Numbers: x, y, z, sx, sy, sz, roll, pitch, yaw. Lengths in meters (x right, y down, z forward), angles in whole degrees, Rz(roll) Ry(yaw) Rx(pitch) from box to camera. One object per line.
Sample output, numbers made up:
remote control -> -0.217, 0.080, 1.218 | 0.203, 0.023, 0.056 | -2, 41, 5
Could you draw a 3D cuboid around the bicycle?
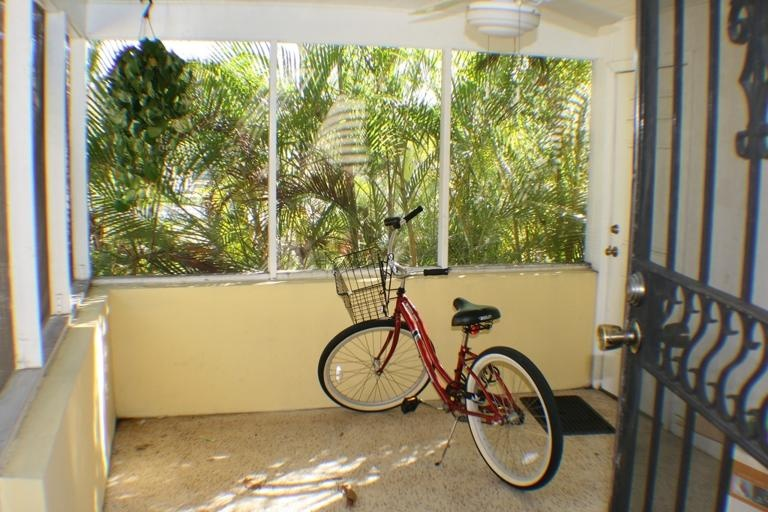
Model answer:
bicycle -> 0.299, 0.653, 3.669 | 1.869, 1.642, 0.787 | 17, 27, 39
